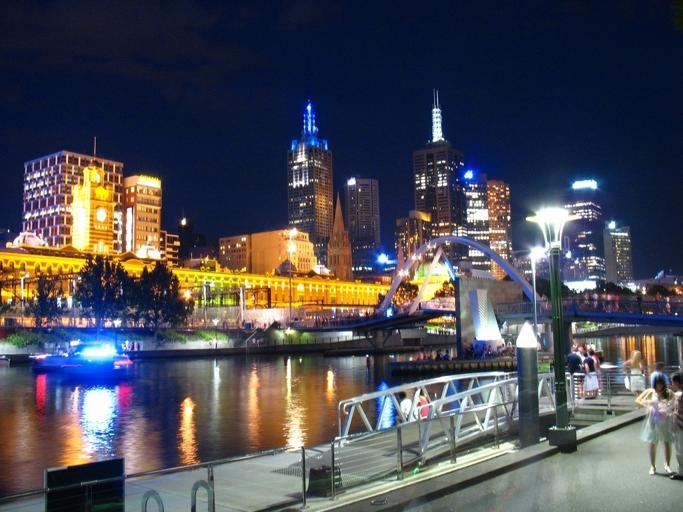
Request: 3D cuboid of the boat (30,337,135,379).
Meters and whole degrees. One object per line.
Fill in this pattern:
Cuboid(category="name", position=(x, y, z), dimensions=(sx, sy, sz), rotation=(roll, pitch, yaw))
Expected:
Cuboid(category="boat", position=(-20.227, 8.660, 60.476), dimensions=(8.166, 3.049, 10.188), rotation=(4, -11, -43))

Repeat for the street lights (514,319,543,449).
Cuboid(category="street lights", position=(5.375, 3.713, 20.913), dimensions=(0.696, 3.568, 0.905), rotation=(-4, -7, 13))

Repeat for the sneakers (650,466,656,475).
Cuboid(category="sneakers", position=(7.763, 5.383, 18.034), dimensions=(0.107, 0.154, 0.374), rotation=(-9, -23, 25))

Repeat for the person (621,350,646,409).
Cuboid(category="person", position=(11.470, 4.735, 28.270), dimensions=(0.660, 2.166, 0.642), rotation=(-2, 10, 21))
